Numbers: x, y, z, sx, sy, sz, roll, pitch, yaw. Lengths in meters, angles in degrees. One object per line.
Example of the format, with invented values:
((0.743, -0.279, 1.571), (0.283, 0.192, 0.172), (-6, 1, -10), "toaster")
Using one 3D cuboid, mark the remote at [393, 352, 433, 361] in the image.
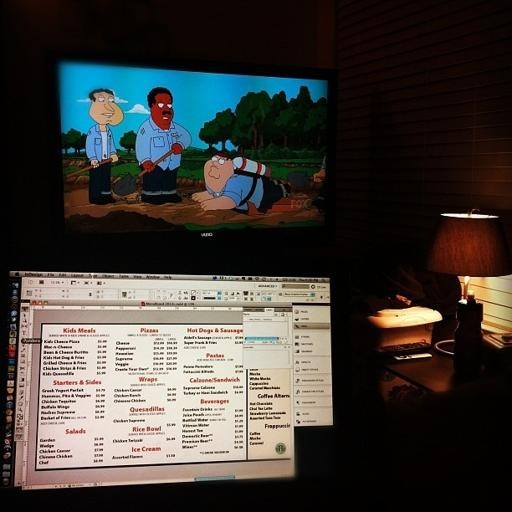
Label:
((0.430, 0.273, 1.407), (0.120, 0.014, 0.039), (0, 20, -5), "remote")
